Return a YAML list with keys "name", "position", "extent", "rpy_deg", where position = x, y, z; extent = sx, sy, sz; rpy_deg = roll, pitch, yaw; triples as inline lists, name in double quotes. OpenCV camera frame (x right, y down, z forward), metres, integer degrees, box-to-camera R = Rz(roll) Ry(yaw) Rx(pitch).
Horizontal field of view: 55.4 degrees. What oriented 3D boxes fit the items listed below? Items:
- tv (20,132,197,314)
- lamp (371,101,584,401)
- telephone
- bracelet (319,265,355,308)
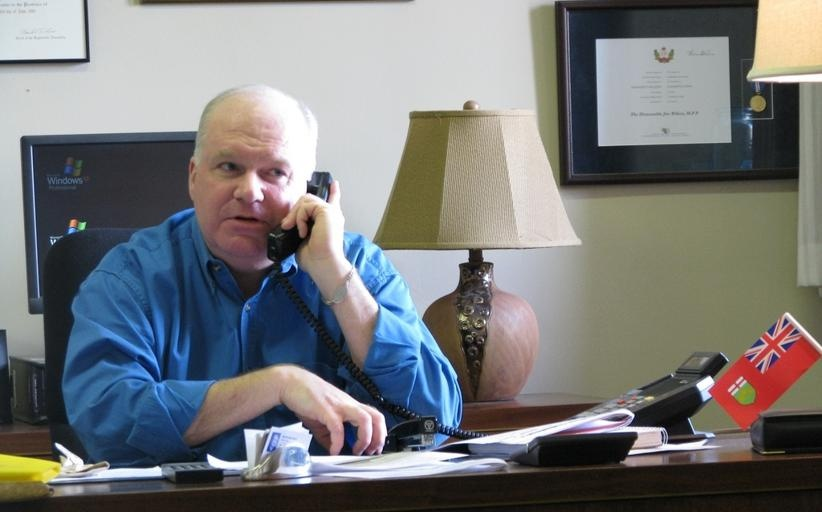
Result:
- name: "tv"
  position: [-0.944, -0.105, 2.451]
  extent: [0.651, 0.529, 0.047]
  rpy_deg: [0, -2, -1]
- name: "lamp"
  position: [0.224, -0.014, 2.693]
  extent: [0.642, 0.901, 0.632]
  rpy_deg: [0, 7, 13]
- name: "telephone"
  position: [-0.280, -0.116, 2.147]
  extent: [0.077, 0.105, 0.390]
  rpy_deg: [16, 52, 20]
- name: "bracelet"
  position: [-0.192, 0.079, 2.054]
  extent: [0.025, 0.089, 0.068]
  rpy_deg: [33, -16, -9]
